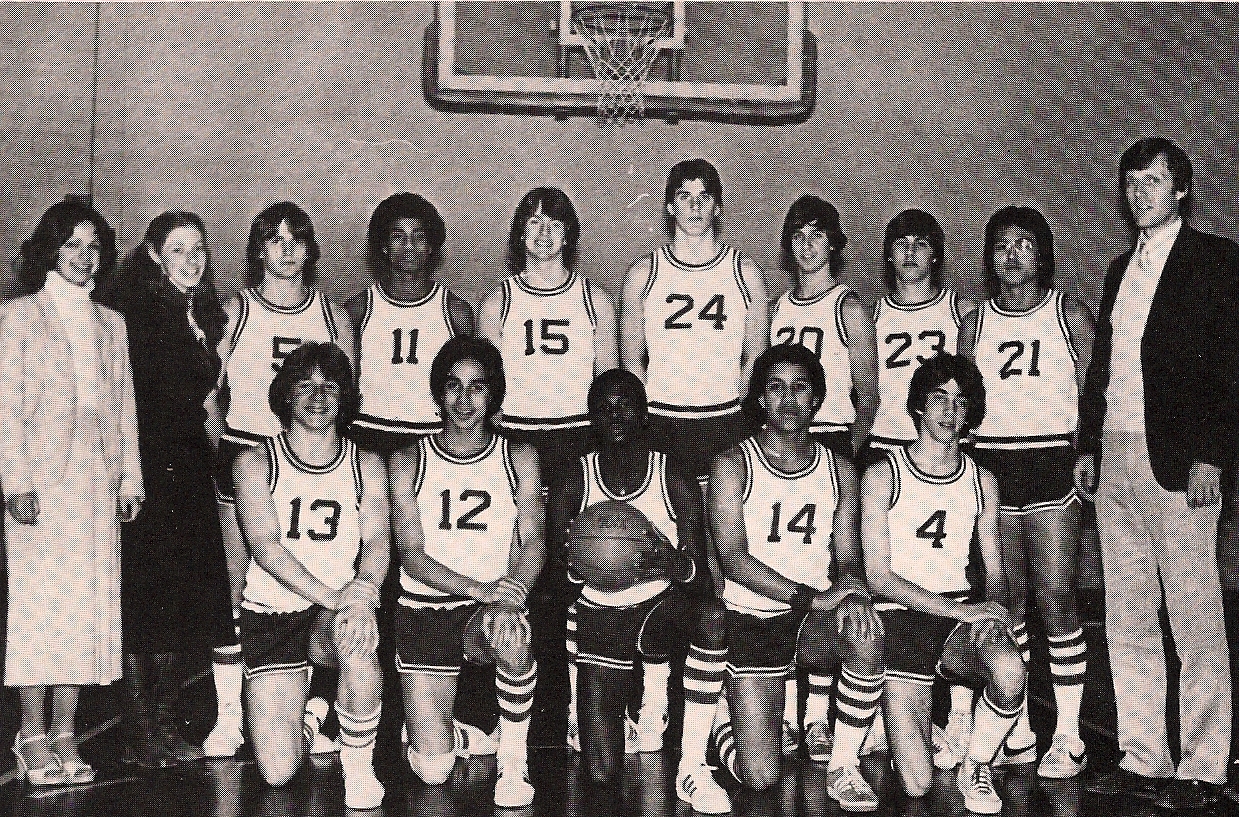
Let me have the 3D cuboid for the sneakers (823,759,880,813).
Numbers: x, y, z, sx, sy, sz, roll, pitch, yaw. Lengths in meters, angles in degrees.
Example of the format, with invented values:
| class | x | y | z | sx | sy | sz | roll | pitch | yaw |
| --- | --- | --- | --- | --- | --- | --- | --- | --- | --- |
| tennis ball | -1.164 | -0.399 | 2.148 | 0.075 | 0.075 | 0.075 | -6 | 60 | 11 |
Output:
| class | x | y | z | sx | sy | sz | roll | pitch | yaw |
| --- | --- | --- | --- | --- | --- | --- | --- | --- | --- |
| sneakers | 0.878 | 1.422 | 4.923 | 0.197 | 0.134 | 0.167 | 1 | 9 | 8 |

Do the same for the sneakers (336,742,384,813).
| class | x | y | z | sx | sy | sz | roll | pitch | yaw |
| --- | --- | --- | --- | --- | --- | --- | --- | --- | --- |
| sneakers | -0.971 | 1.363 | 4.936 | 0.154 | 0.195 | 0.309 | -2 | 9 | -12 |

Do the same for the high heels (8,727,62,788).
| class | x | y | z | sx | sy | sz | roll | pitch | yaw |
| --- | --- | --- | --- | --- | --- | --- | --- | --- | --- |
| high heels | -2.257 | 1.363 | 5.054 | 0.322 | 0.150 | 0.112 | -2 | -6 | 44 |

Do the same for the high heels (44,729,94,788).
| class | x | y | z | sx | sy | sz | roll | pitch | yaw |
| --- | --- | --- | --- | --- | --- | --- | --- | --- | --- |
| high heels | -2.147 | 1.363 | 5.088 | 0.105 | 0.125 | 0.305 | 11 | 2 | -45 |

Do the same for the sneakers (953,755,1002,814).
| class | x | y | z | sx | sy | sz | roll | pitch | yaw |
| --- | --- | --- | --- | --- | --- | --- | --- | --- | --- |
| sneakers | 1.361 | 1.410 | 4.935 | 0.169 | 0.160 | 0.228 | 3 | 9 | 15 |

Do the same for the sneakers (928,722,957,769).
| class | x | y | z | sx | sy | sz | roll | pitch | yaw |
| --- | --- | --- | --- | --- | --- | --- | --- | --- | --- |
| sneakers | 1.311 | 1.376 | 5.356 | 0.079 | 0.086 | 0.221 | -5 | 19 | -6 |

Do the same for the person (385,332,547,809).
| class | x | y | z | sx | sy | sz | roll | pitch | yaw |
| --- | --- | --- | --- | --- | --- | --- | --- | --- | --- |
| person | -0.605 | 0.579 | 5.118 | 0.611 | 1.687 | 0.541 | -1 | 9 | -4 |

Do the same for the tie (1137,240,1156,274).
| class | x | y | z | sx | sy | sz | roll | pitch | yaw |
| --- | --- | --- | --- | --- | --- | --- | --- | --- | --- |
| tie | 2.101 | -0.615 | 5.221 | 0.027 | 0.100 | 0.077 | 3 | 3 | 33 |

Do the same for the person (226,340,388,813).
| class | x | y | z | sx | sy | sz | roll | pitch | yaw |
| --- | --- | --- | --- | --- | --- | --- | --- | --- | --- |
| person | -1.168 | 0.746 | 5.006 | 0.597 | 1.392 | 0.690 | -2 | 10 | -13 |

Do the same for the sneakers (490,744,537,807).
| class | x | y | z | sx | sy | sz | roll | pitch | yaw |
| --- | --- | --- | --- | --- | --- | --- | --- | --- | --- |
| sneakers | -0.407 | 1.400 | 4.961 | 0.195 | 0.163 | 0.423 | -1 | -3 | -4 |
